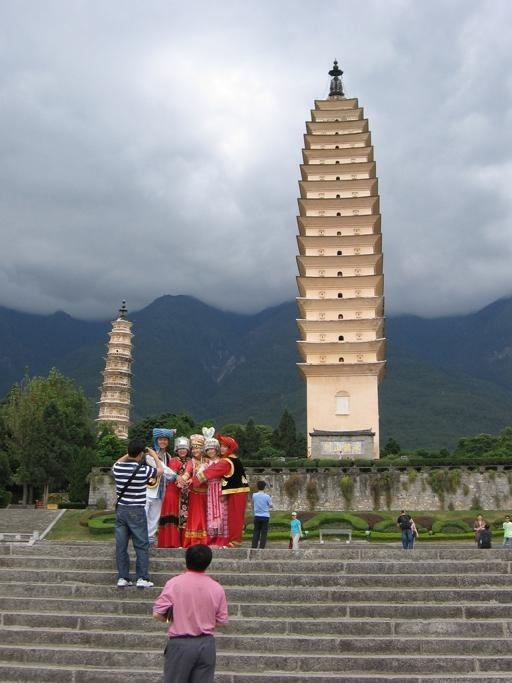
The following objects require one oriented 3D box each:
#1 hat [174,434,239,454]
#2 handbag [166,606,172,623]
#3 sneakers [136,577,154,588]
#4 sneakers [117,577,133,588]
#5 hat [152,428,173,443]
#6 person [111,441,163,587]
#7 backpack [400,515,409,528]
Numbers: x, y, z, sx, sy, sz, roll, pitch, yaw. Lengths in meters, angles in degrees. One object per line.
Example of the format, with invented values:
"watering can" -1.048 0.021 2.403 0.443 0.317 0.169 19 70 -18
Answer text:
"hat" -0.566 1.329 11.318 0.564 0.161 0.373 1 -14 -5
"handbag" -0.674 2.112 6.577 0.032 0.064 0.094 10 -29 -14
"sneakers" -1.256 2.678 9.459 0.242 0.085 0.077 0 -1 -5
"sneakers" -1.468 2.693 9.551 0.087 0.076 0.191 1 -3 15
"hat" -1.241 1.250 11.350 0.248 0.127 0.261 -1 -2 -1
"person" -1.402 1.938 9.624 0.454 1.638 0.539 -4 -13 18
"backpack" 2.850 3.433 16.240 0.222 0.286 0.341 -1 -11 8
